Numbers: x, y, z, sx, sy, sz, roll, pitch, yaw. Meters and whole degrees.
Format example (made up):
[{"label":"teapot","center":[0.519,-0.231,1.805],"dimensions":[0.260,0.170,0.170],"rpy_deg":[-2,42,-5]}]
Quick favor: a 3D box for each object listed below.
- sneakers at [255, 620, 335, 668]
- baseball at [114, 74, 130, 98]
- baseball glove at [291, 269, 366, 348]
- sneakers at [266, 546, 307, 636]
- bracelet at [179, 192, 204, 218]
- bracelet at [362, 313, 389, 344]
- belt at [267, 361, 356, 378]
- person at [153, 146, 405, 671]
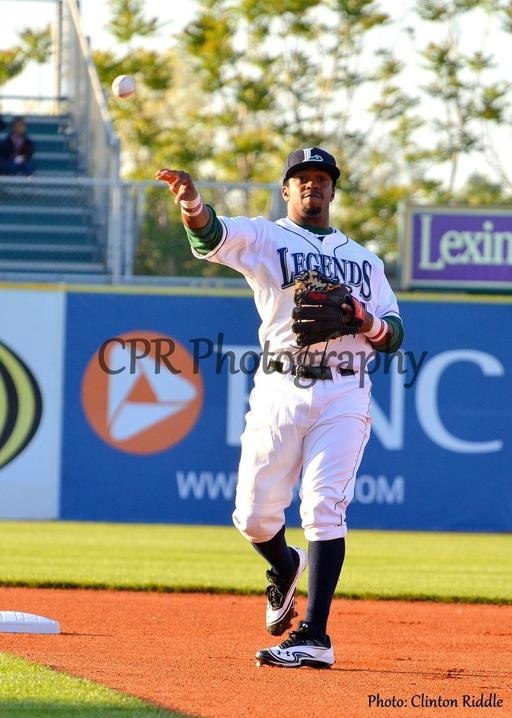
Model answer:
[{"label":"sneakers","center":[0.208,1.335,7.100],"dimensions":[0.415,0.246,0.150],"rpy_deg":[2,-6,-5]},{"label":"baseball","center":[-0.765,-1.546,8.771],"dimensions":[0.112,0.113,0.129],"rpy_deg":[-2,16,-9]},{"label":"baseball glove","center":[0.312,-0.220,7.023],"dimensions":[0.359,0.292,0.154],"rpy_deg":[4,-16,-3]},{"label":"sneakers","center":[0.110,1.088,7.420],"dimensions":[0.148,0.465,0.207],"rpy_deg":[10,1,26]},{"label":"bracelet","center":[-0.280,-0.691,7.003],"dimensions":[0.101,0.103,0.102],"rpy_deg":[-3,20,2]},{"label":"bracelet","center":[0.561,-0.119,7.143],"dimensions":[0.114,0.114,0.094],"rpy_deg":[29,43,-11]},{"label":"belt","center":[0.223,0.066,7.114],"dimensions":[0.240,0.058,0.144],"rpy_deg":[6,-4,14]},{"label":"person","center":[0.174,0.212,7.205],"dimensions":[0.971,2.403,0.538],"rpy_deg":[2,2,5]}]
